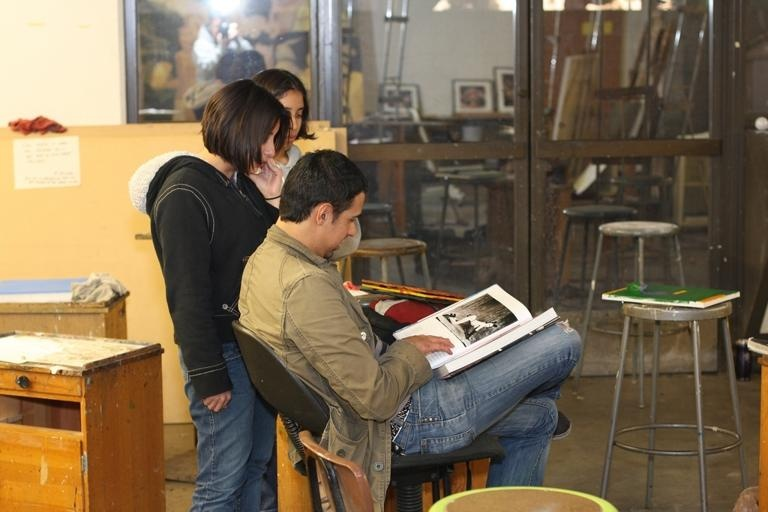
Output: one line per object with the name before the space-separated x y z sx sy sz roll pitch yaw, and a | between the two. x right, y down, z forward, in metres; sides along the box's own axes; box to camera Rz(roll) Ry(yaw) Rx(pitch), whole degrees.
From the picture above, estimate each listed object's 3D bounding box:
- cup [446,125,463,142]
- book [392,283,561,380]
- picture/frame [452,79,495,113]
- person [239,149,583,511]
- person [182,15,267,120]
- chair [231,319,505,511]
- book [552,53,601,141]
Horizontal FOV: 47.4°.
cup | 0.521 -0.884 6.364 0.108 0.089 0.117 -1 -3 0
book | 0.426 0.316 3.870 0.516 0.183 0.468 -27 18 -13
picture/frame | 0.638 -1.164 6.346 0.246 0.207 0.019 -1 2 -5
person | 0.088 0.337 3.806 1.377 1.594 0.436 -4 10 -13
person | -1.132 -1.333 6.121 0.548 0.746 0.269 22 10 27
chair | -0.166 0.690 4.116 1.018 1.152 0.841 -2 4 -17
book | 1.387 -1.156 6.390 0.339 0.599 0.056 -5 10 -14
